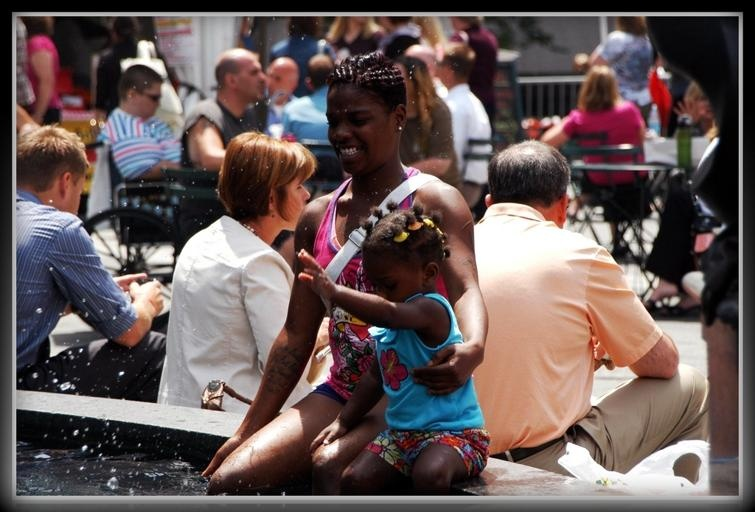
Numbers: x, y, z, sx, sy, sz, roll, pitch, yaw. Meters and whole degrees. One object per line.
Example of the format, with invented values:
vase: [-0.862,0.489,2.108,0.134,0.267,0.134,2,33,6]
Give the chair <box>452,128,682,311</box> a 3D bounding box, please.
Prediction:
chair: [1.463,-0.299,8.674,1.687,1.193,0.972,0,0,23]

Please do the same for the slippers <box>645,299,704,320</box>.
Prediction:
slippers: [2.544,0.469,10.073,0.246,0.199,0.704,2,-3,-23]
